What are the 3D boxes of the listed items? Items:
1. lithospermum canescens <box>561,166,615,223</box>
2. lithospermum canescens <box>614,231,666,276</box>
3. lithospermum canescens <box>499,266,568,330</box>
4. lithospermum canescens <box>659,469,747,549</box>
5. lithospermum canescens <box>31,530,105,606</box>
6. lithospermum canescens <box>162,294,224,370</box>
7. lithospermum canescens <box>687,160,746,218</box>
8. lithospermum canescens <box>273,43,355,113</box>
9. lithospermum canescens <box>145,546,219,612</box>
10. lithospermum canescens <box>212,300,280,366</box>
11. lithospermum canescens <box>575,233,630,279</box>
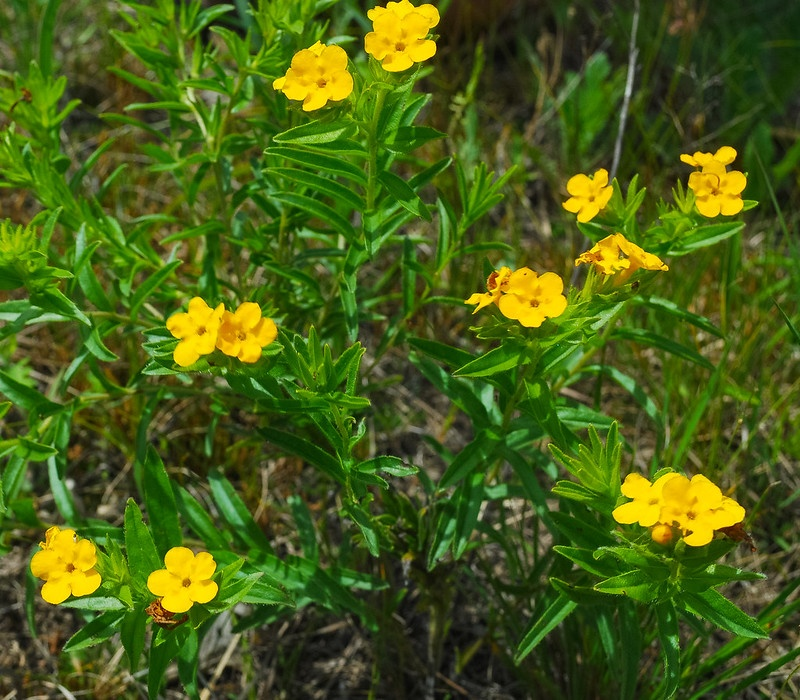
[{"bbox_3d":[0.554,-0.444,2.244,0.137,0.062,0.158,10,85,22],"label":"lithospermum canescens"},{"bbox_3d":[0.616,-0.234,1.984,0.140,0.089,0.074,19,56,16],"label":"lithospermum canescens"},{"bbox_3d":[0.321,-0.122,1.867,0.156,0.101,0.116,13,55,13],"label":"lithospermum canescens"},{"bbox_3d":[0.706,0.388,1.800,0.191,0.121,0.165,8,54,9],"label":"lithospermum canescens"},{"bbox_3d":[-0.818,0.527,1.916,0.168,0.056,0.185,-32,82,-5],"label":"lithospermum canescens"},{"bbox_3d":[-0.490,-0.039,1.840,0.142,0.072,0.164,-27,83,2],"label":"lithospermum canescens"},{"bbox_3d":[0.881,-0.467,2.138,0.131,0.151,0.042,14,85,15],"label":"lithospermum canescens"},{"bbox_3d":[-0.218,-0.689,1.923,0.152,0.128,0.216,-29,57,-18],"label":"lithospermum canescens"},{"bbox_3d":[-0.529,0.564,1.875,0.170,0.046,0.192,-2,31,-19],"label":"lithospermum canescens"},{"bbox_3d":[-0.356,-0.064,1.887,0.164,0.153,0.073,3,86,50],"label":"lithospermum canescens"},{"bbox_3d":[0.524,-0.240,1.989,0.107,0.044,0.117,14,70,42],"label":"lithospermum canescens"}]
